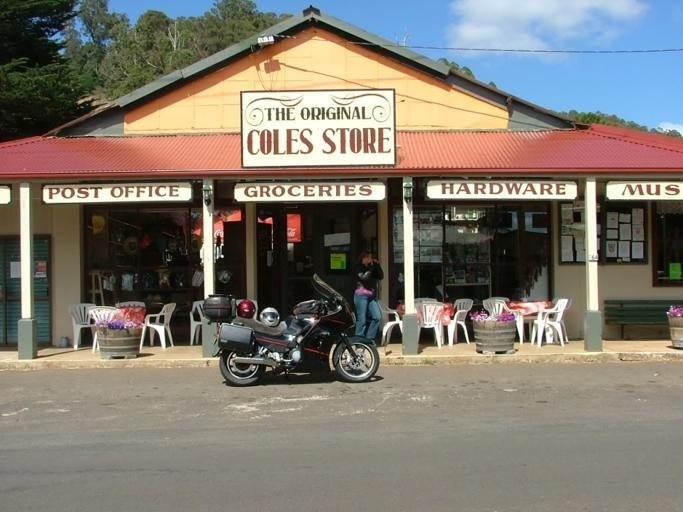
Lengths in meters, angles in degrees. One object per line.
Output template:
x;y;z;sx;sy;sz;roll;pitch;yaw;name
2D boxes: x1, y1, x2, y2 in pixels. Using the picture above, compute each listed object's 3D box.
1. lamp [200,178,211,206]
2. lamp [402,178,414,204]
-2.651;-1.272;15.744;0.192;0.514;0.178;-3;6;-18;lamp
1.327;-1.324;15.893;0.185;0.522;0.354;-1;6;0;lamp
